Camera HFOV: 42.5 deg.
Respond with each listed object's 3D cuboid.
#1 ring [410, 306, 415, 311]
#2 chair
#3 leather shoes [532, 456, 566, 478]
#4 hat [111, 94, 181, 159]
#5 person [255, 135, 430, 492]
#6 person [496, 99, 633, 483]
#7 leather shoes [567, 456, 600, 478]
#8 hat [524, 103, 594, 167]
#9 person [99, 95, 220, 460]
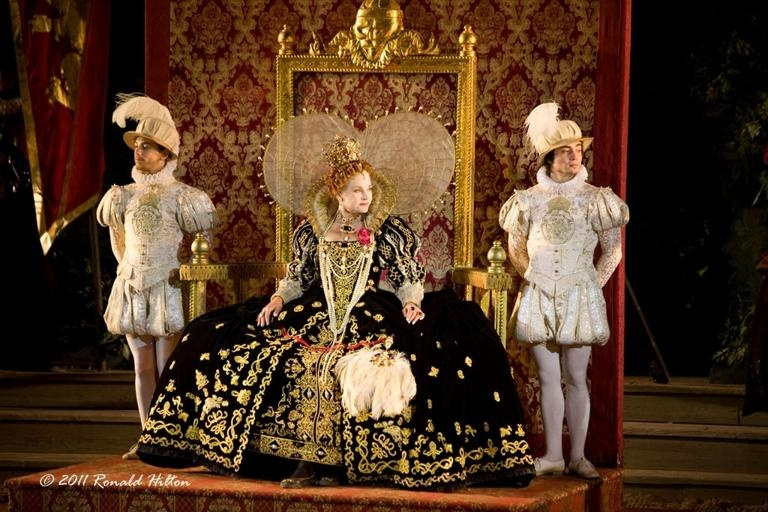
[{"bbox_3d":[0.159,0.301,5.662,0.037,0.024,0.026,0,3,-8],"label":"ring"},{"bbox_3d":[-0.156,-0.500,6.269,2.483,2.721,1.432,0,0,4],"label":"chair"},{"bbox_3d":[0.985,1.266,5.903,0.236,0.094,0.086,3,-3,-9],"label":"leather shoes"},{"bbox_3d":[-1.506,-0.816,6.322,0.473,0.350,0.330,20,-2,-17],"label":"hat"},{"bbox_3d":[-0.253,0.190,5.685,1.006,1.777,0.869,-4,-45,6],"label":"person"},{"bbox_3d":[1.073,0.191,5.982,0.763,2.254,0.383,1,3,5],"label":"person"},{"bbox_3d":[1.187,1.280,5.945,0.084,0.087,0.226,-3,-2,-30],"label":"leather shoes"},{"bbox_3d":[1.106,-0.738,6.095,0.329,0.357,0.359,2,-5,-17],"label":"hat"},{"bbox_3d":[-1.463,-0.010,6.250,0.620,2.037,0.526,-1,3,-34],"label":"person"}]
